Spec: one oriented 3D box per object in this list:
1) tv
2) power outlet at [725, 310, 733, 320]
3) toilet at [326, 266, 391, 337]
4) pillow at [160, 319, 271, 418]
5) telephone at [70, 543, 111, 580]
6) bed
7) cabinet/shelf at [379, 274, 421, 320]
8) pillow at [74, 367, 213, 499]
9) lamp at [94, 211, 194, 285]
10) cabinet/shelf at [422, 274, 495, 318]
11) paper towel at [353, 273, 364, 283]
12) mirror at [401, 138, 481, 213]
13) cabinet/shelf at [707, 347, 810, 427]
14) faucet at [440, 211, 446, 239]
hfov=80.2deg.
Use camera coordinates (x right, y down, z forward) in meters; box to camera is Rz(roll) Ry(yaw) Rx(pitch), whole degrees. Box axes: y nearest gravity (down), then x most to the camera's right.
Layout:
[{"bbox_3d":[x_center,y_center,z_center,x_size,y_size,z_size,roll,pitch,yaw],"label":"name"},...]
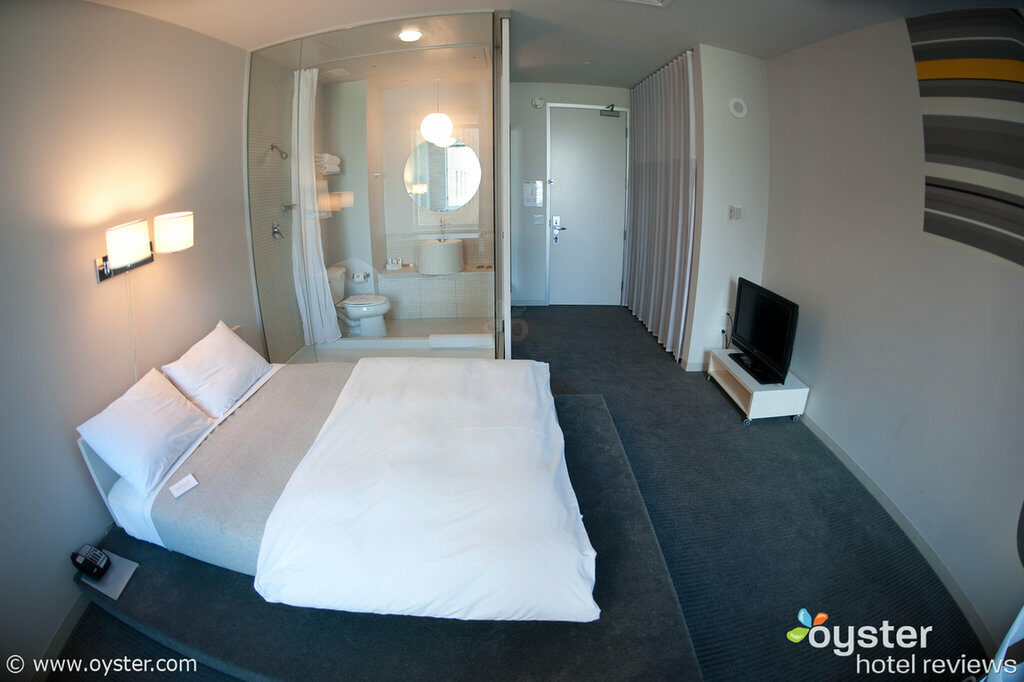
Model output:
[{"bbox_3d":[2.215,-0.067,5.290,0.199,0.672,0.780,-9,26,-9],"label":"tv"},{"bbox_3d":[2.160,-0.249,6.031,0.075,0.078,0.045,5,-8,33],"label":"power outlet"},{"bbox_3d":[-1.444,-0.364,5.581,0.675,0.814,0.419,-2,19,-6],"label":"toilet"},{"bbox_3d":[-2.185,0.241,4.482,0.182,0.585,0.666,-34,17,32],"label":"pillow"},{"bbox_3d":[-2.555,1.332,3.680,0.223,0.082,0.165,18,15,14],"label":"telephone"},{"bbox_3d":[-1.004,0.897,3.739,2.157,0.665,1.920,0,35,0],"label":"bed"},{"bbox_3d":[-1.048,-0.421,5.610,0.369,0.372,0.202,1,16,-2],"label":"cabinet/shelf"},{"bbox_3d":[-2.381,0.596,3.918,0.716,0.195,0.665,42,50,1],"label":"pillow"},{"bbox_3d":[-2.565,-0.673,4.274,0.189,0.367,0.787,9,21,8],"label":"lamp"},{"bbox_3d":[-0.514,-0.423,5.603,0.626,0.384,0.158,-2,17,-6],"label":"cabinet/shelf"},{"bbox_3d":[-1.409,-0.579,5.563,0.101,0.074,0.015,1,17,6],"label":"paper towel"},{"bbox_3d":[-0.635,-1.502,5.422,0.597,0.581,0.029,4,17,3],"label":"mirror"},{"bbox_3d":[2.204,0.397,5.496,0.509,0.441,0.817,-3,17,-9],"label":"cabinet/shelf"},{"bbox_3d":[-0.630,-1.037,5.523,0.059,0.230,0.038,-2,17,-6],"label":"faucet"}]
